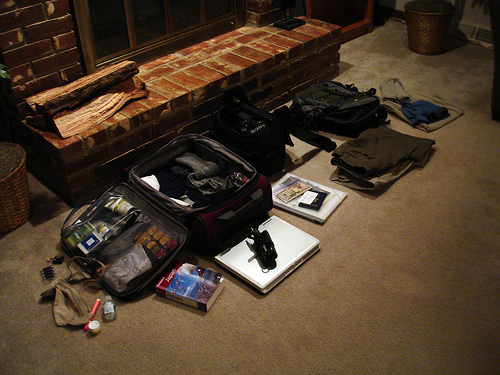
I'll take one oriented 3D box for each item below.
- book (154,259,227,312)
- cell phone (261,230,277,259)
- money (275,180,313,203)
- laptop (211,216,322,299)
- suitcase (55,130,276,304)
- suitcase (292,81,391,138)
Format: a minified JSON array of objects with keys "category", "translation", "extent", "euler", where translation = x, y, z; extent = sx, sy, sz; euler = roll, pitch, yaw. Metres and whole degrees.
[{"category":"book","translation":[-0.295,0.488,2.074],"extent":[0.280,0.061,0.204],"euler":[17,43,19]},{"category":"cell phone","translation":[0.101,0.290,2.152],"extent":[0.047,0.054,0.150],"euler":[-20,64,-9]},{"category":"money","translation":[0.277,0.020,2.553],"extent":[0.224,0.014,0.094],"euler":[-28,50,-25]},{"category":"laptop","translation":[0.100,0.343,2.266],"extent":[0.434,0.062,0.519],"euler":[21,42,29]},{"category":"suitcase","translation":[-0.375,0.122,2.374],"extent":[1.136,0.332,0.806],"euler":[-37,56,-26]},{"category":"suitcase","translation":[0.679,-0.597,3.026],"extent":[0.518,0.182,0.501],"euler":[-32,62,-22]}]
